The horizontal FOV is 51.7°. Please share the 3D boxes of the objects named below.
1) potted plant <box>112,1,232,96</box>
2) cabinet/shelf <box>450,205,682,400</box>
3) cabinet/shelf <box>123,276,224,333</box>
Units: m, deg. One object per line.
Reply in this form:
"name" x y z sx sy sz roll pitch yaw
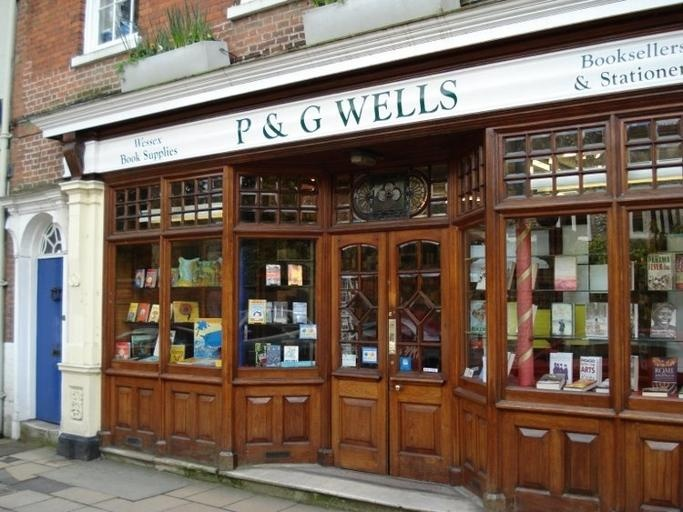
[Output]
"potted plant" -2.280 -2.965 9.748 1.619 1.276 0.464 -2 -5 28
"cabinet/shelf" 2.551 0.498 7.660 2.162 2.105 0.785 0 0 30
"cabinet/shelf" -2.278 0.673 9.793 1.667 0.460 0.600 3 14 21
